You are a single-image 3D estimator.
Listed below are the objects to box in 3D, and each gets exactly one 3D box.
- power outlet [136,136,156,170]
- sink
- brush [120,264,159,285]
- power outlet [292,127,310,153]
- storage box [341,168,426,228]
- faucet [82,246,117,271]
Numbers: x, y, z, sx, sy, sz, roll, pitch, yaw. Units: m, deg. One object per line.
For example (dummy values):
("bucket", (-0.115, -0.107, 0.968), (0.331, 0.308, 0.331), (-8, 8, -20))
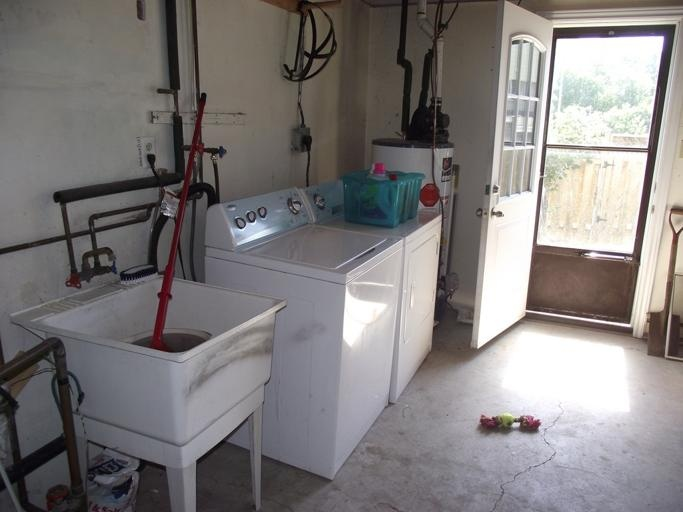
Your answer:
("power outlet", (-0.977, -0.515, 2.586), (0.021, 0.160, 0.110), (7, 15, 24))
("sink", (-0.795, 0.373, 2.114), (0.799, 0.399, 0.659), (9, 15, 26))
("brush", (-0.952, 0.076, 2.411), (0.084, 0.053, 0.134), (6, 14, 37))
("power outlet", (-0.294, -0.817, 3.639), (0.097, 0.186, 0.148), (8, 12, 32))
("storage box", (0.238, -0.384, 3.209), (0.313, 0.258, 0.449), (6, 13, 21))
("faucet", (-1.129, 0.024, 2.404), (0.135, 0.140, 0.203), (-4, 15, -21))
